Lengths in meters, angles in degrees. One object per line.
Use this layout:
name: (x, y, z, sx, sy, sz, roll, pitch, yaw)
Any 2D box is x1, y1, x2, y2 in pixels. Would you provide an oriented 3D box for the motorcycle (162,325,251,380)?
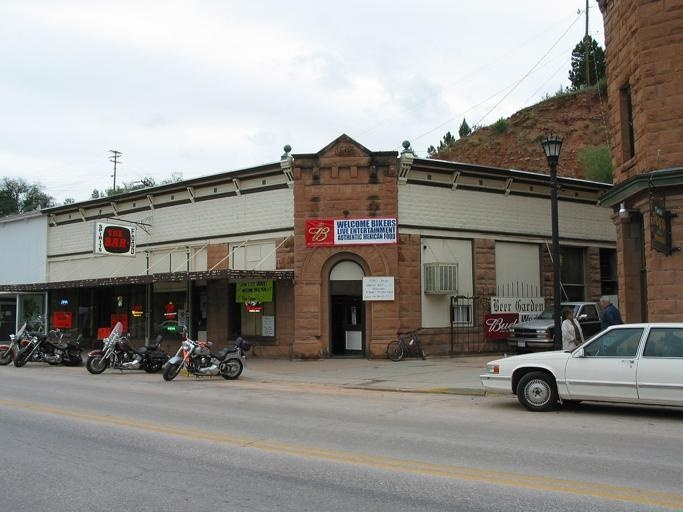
motorcycle: (-4.127, 3.002, 22.064, 2.404, 1.495, 1.323, 4, -7, -18)

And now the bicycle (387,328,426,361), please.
bicycle: (2.300, 3.196, 26.389, 1.542, 0.949, 0.771, -2, -3, -25)

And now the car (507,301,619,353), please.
car: (7.424, 2.418, 24.603, 2.729, 1.271, 1.664, 3, -8, -31)
